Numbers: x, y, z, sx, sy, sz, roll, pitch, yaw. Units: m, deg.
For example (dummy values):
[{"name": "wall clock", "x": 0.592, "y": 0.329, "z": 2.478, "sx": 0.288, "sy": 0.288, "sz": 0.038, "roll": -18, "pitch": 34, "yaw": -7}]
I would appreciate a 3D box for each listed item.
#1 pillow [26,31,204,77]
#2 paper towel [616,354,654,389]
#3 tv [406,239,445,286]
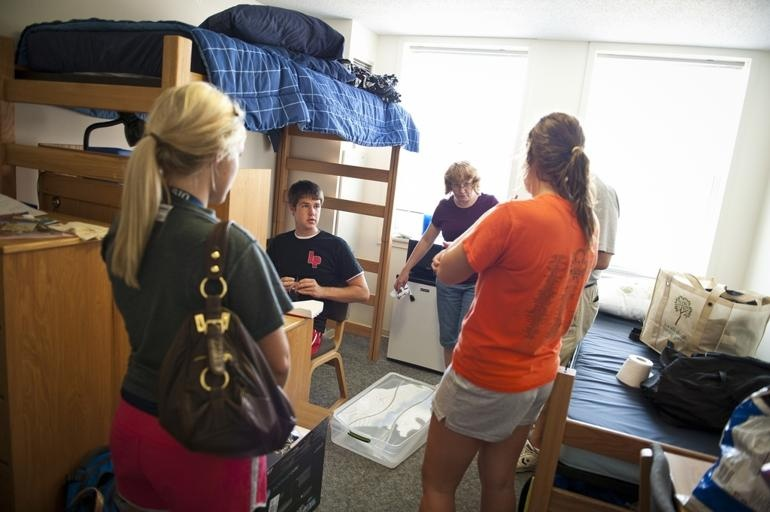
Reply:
[{"name": "pillow", "x": -1.336, "y": -1.027, "z": 2.715, "sx": 0.394, "sy": 0.090, "sz": 0.384, "roll": 0, "pitch": 5, "yaw": -6}, {"name": "paper towel", "x": 1.438, "y": 0.669, "z": 3.152, "sx": 0.184, "sy": 0.153, "sz": 0.182, "roll": 27, "pitch": 18, "yaw": 12}, {"name": "tv", "x": 0.330, "y": -0.058, "z": 4.434, "sx": 0.316, "sy": 0.405, "sz": 0.554, "roll": 3, "pitch": 6, "yaw": 8}]
